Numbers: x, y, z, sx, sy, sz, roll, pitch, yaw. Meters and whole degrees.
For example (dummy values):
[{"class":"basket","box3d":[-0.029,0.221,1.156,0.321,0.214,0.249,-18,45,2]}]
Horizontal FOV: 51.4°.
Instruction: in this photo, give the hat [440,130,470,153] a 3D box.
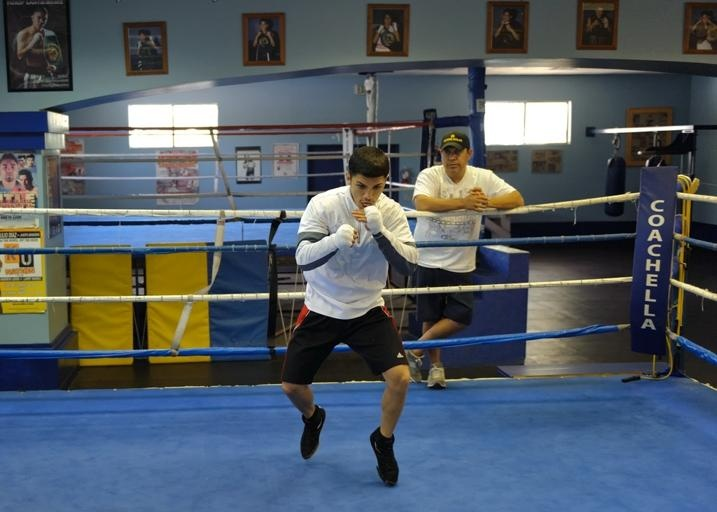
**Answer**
[{"class":"hat","box3d":[0.638,-0.759,4.905,0.177,0.118,0.219,-1,10,5]}]

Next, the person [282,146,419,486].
[{"class":"person","box3d":[-0.046,0.305,3.958,0.728,1.750,0.454,-1,11,4]}]

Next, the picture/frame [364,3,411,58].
[{"class":"picture/frame","box3d":[0.306,-2.351,7.681,0.615,0.603,0.045,0,6,-5]}]

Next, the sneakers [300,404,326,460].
[{"class":"sneakers","box3d":[-0.207,0.965,4.086,0.113,0.307,0.142,11,-4,34]}]

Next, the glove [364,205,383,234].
[{"class":"glove","box3d":[0.085,-0.174,3.695,0.083,0.056,0.142,-2,29,-1]}]

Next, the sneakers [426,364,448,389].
[{"class":"sneakers","box3d":[0.507,0.771,4.784,0.125,0.123,0.167,-1,10,4]}]

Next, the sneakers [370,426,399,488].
[{"class":"sneakers","box3d":[0.142,1.047,3.960,0.144,0.284,0.218,-2,10,1]}]

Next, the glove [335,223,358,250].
[{"class":"glove","box3d":[-0.056,-0.094,3.687,0.103,0.114,0.056,-2,11,-2]}]
